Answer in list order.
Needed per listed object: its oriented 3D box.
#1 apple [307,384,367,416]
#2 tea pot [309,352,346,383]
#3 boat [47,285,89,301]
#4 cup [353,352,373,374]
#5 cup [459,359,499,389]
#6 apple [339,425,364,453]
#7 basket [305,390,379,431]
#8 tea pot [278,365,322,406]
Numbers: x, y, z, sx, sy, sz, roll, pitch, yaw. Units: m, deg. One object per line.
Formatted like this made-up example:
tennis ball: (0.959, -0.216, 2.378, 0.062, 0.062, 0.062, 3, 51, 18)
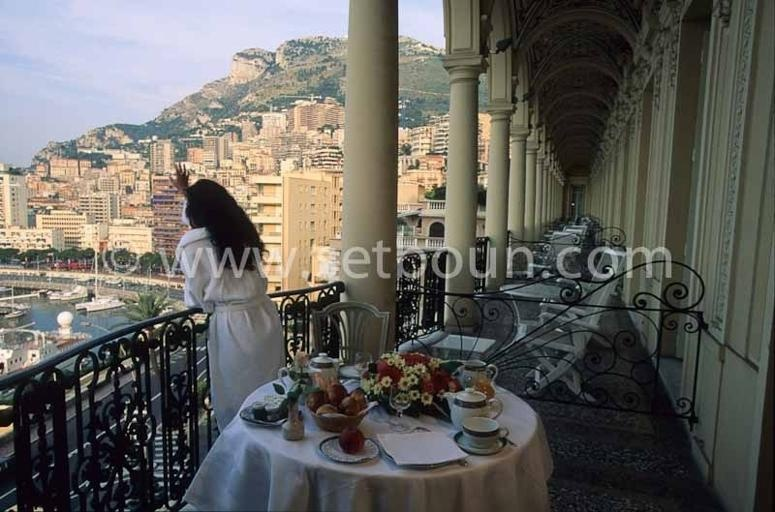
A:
apple: (-0.374, 1.072, 4.609, 0.269, 0.115, 0.275, 6, 4, 23)
tea pot: (-0.485, 0.878, 4.930, 0.247, 0.246, 0.190, -1, -4, 15)
boat: (-19.919, 2.393, 38.659, 0.593, 0.700, 1.870, -3, -2, 40)
cup: (-0.199, 0.874, 5.175, 0.156, 0.160, 0.161, 1, 3, 0)
cup: (0.745, 0.937, 4.996, 0.307, 0.291, 0.195, 2, -1, -16)
apple: (-0.258, 1.306, 4.417, 0.158, 0.167, 0.162, 1, 6, -11)
basket: (-0.353, 1.157, 4.724, 0.491, 0.256, 0.316, 4, 4, 0)
tea pot: (-0.692, 0.965, 4.742, 0.315, 0.239, 0.250, 0, 6, 17)
